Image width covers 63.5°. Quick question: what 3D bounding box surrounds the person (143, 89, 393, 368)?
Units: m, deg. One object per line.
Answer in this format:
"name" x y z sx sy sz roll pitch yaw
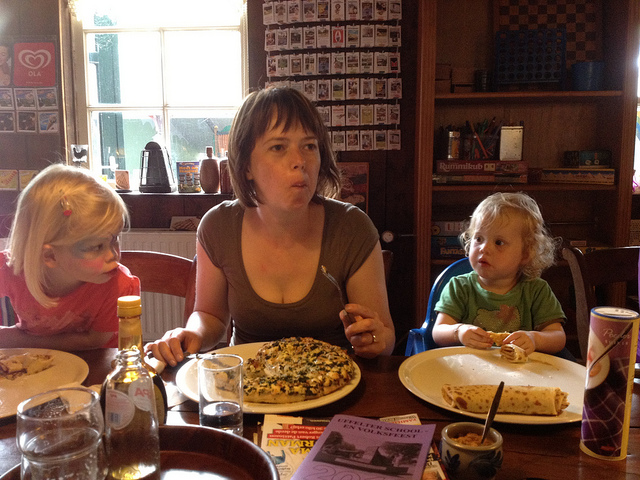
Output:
"person" -0.165 -0.004 1.765 0.791 0.979 0.632 1 14 1

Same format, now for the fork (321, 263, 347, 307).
"fork" 0.037 0.148 1.686 0.038 0.128 0.085 -30 3 12

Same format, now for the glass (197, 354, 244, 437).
"glass" -0.223 0.356 1.160 0.109 0.176 0.103 -2 2 -28

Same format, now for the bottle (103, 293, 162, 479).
"bottle" -0.374 0.275 1.001 0.099 0.327 0.205 -6 13 -19

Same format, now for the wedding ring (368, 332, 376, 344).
"wedding ring" 0.147 0.277 1.448 0.006 0.023 0.024 -7 -5 -19

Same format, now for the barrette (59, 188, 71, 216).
"barrette" -0.820 -0.116 1.663 0.017 0.066 0.051 -16 5 -33
